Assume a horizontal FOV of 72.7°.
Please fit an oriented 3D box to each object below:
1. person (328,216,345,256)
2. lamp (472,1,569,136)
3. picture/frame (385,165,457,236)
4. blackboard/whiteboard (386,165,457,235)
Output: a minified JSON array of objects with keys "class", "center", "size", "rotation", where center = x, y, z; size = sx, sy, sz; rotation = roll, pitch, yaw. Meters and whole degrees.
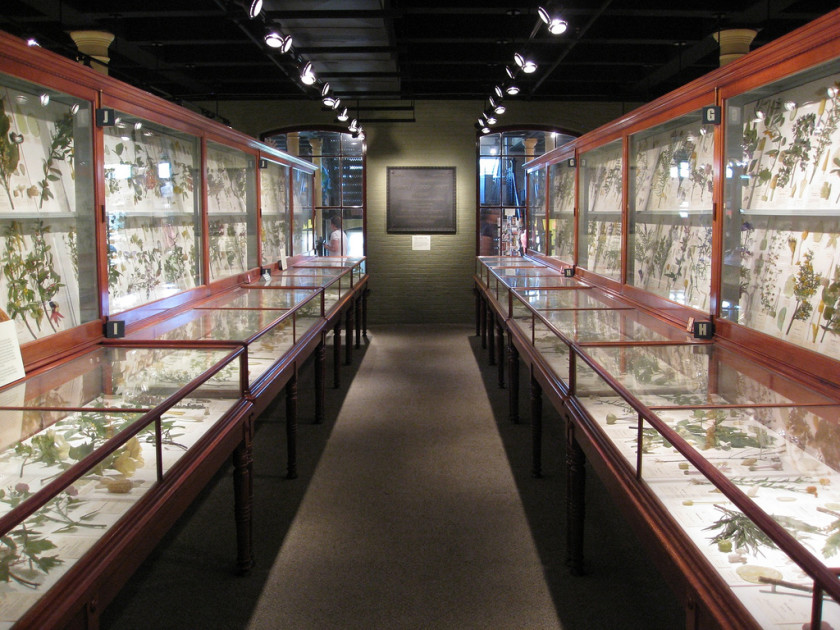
[{"class":"person","center":[-1.655,-1.588,11.321],"size":[0.309,0.735,0.189],"rotation":[-2,14,-18]},{"class":"lamp","center":[1.163,-2.942,7.010],"size":[0.405,0.391,2.698],"rotation":[28,-24,3]},{"class":"picture/frame","center":[0.039,-2.371,11.437],"size":[1.467,1.352,0.097],"rotation":[1,3,-1]},{"class":"blackboard/whiteboard","center":[0.050,-2.376,11.436],"size":[1.468,1.355,0.097],"rotation":[1,3,-1]}]
